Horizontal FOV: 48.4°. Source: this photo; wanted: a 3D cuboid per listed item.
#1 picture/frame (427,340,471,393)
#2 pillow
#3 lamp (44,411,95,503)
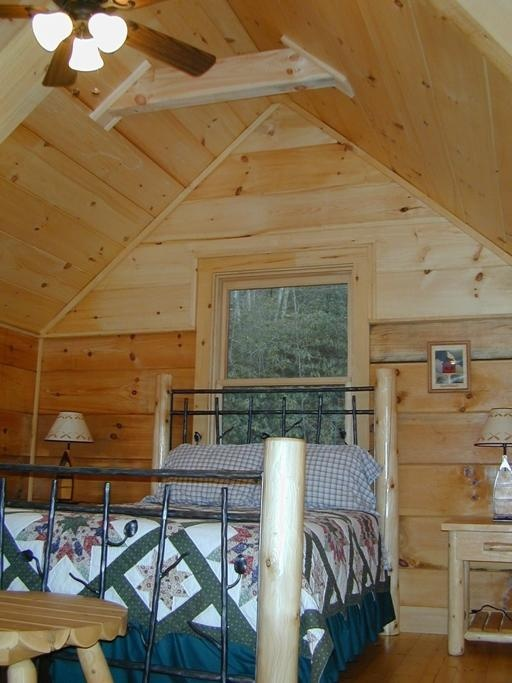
[{"bbox_3d":[1.070,0.144,3.128,0.318,0.386,0.028,-1,-12,20],"label":"picture/frame"},{"bbox_3d":[0.056,0.526,2.161,0.739,0.155,0.227,-2,11,13],"label":"pillow"},{"bbox_3d":[-1.180,0.700,3.540,0.315,0.511,0.308,14,-14,-43],"label":"lamp"}]
